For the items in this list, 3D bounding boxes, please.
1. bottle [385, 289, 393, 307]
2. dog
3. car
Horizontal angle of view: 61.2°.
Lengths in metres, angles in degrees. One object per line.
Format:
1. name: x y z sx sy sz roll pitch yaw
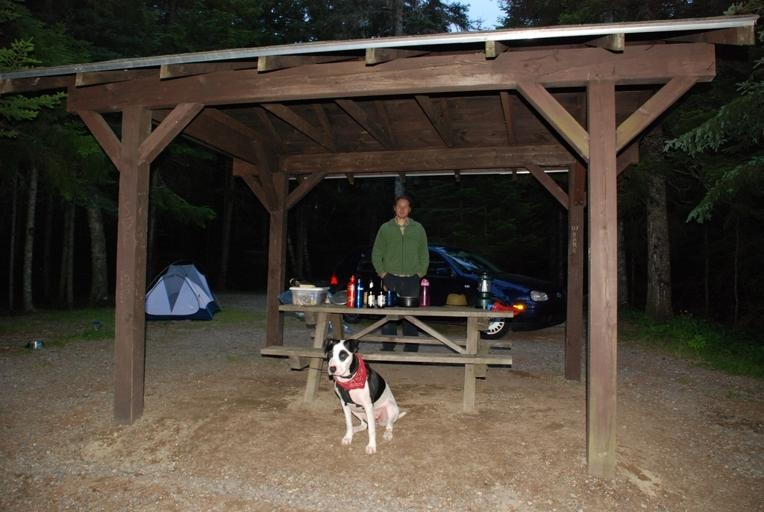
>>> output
1. bottle: 0.132 0.683 10.598 0.201 0.210 0.199 0 1 4
2. dog: -0.274 1.936 9.246 1.083 1.546 0.710 2 -2 -22
3. car: 1.320 0.664 14.591 5.276 1.747 2.256 -1 -1 17
